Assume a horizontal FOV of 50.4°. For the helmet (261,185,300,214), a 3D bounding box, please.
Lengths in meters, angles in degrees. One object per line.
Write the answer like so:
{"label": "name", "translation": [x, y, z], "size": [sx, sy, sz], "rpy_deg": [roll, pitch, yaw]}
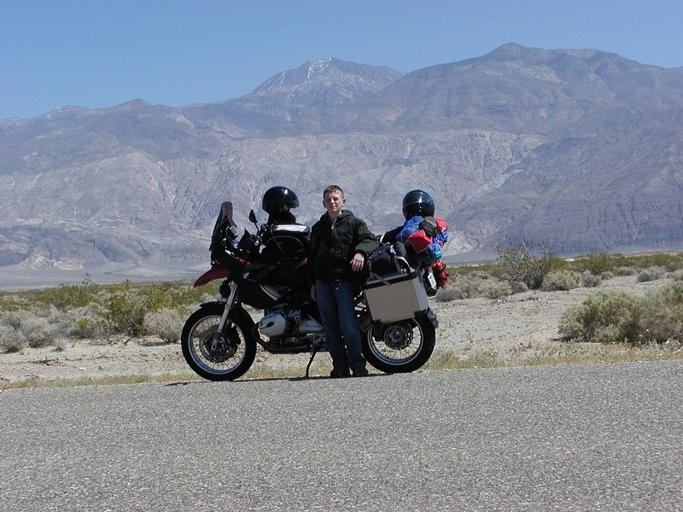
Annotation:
{"label": "helmet", "translation": [-0.876, -0.796, 10.227], "size": [0.446, 0.397, 0.359], "rpy_deg": [-26, 25, -4]}

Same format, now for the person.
{"label": "person", "translation": [0.011, 0.319, 9.541], "size": [0.830, 2.230, 0.536], "rpy_deg": [-4, 1, 2]}
